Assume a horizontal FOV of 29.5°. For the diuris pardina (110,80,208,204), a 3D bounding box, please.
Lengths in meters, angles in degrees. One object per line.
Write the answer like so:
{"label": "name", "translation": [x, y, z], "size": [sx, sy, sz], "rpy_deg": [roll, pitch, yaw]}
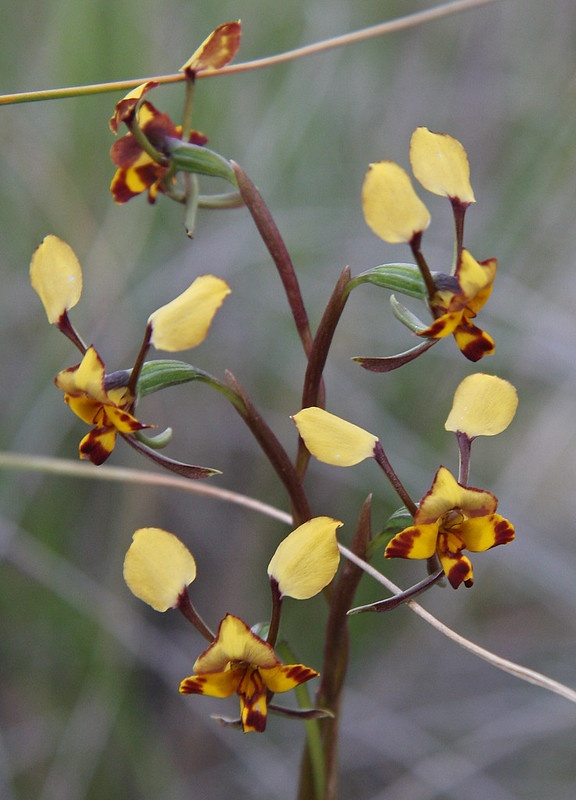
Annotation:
{"label": "diuris pardina", "translation": [-0.117, -0.195, 0.834], "size": [0.037, 0.088, 0.083], "rpy_deg": [35, -27, 32]}

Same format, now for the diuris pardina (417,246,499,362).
{"label": "diuris pardina", "translation": [0.119, -0.066, 0.754], "size": [0.048, 0.061, 0.075], "rpy_deg": [5, -26, 9]}

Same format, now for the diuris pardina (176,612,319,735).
{"label": "diuris pardina", "translation": [-0.023, 0.194, 0.769], "size": [0.092, 0.042, 0.085], "rpy_deg": [-6, 9, -44]}

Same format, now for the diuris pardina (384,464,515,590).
{"label": "diuris pardina", "translation": [0.119, 0.092, 0.768], "size": [0.078, 0.075, 0.028], "rpy_deg": [-2, -42, 15]}
